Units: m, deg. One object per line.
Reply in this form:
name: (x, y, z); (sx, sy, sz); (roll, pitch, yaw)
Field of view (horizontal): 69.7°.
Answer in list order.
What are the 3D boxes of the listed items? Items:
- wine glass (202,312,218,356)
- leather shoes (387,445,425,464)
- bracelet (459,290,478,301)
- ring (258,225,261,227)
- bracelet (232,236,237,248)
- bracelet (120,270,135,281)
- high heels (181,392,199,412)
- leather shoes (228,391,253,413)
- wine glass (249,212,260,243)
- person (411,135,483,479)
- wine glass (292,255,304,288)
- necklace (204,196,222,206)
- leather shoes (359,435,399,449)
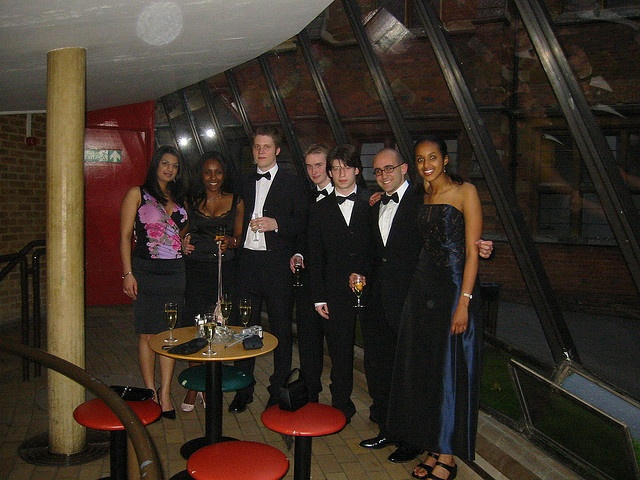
wine glass: (-0.700, 0.566, 2.886); (0.099, 0.163, 0.277); (-8, 5, -14)
leather shoes: (0.630, 1.543, 3.351); (0.260, 0.100, 0.092); (3, -5, -27)
bracelet: (0.927, 0.345, 2.859); (0.079, 0.050, 0.079); (16, -4, -32)
ring: (-0.489, -0.121, 3.684); (0.016, 0.015, 0.004); (5, 9, -26)
bracelet: (-0.712, 0.000, 3.852); (0.024, 0.062, 0.048); (1, 1, -35)
bracelet: (-1.570, 0.279, 3.751); (0.073, 0.047, 0.042); (-8, 5, -13)
high heels: (-1.174, 1.438, 4.103); (0.073, 0.096, 0.232); (4, 29, 3)
leather shoes: (-0.706, 1.437, 4.095); (0.103, 0.166, 0.246); (3, -3, 22)
wine glass: (-0.552, -0.114, 3.885); (0.101, 0.249, 0.140); (-8, 5, -8)
person: (0.841, 0.453, 3.001); (0.590, 2.229, 0.398); (-5, 6, 19)
wine glass: (-0.186, 0.254, 3.872); (0.120, 0.283, 0.085); (-7, 5, -5)
necklace: (-0.913, -0.334, 3.918); (0.096, 0.081, 0.021); (1, -2, 3)
leather shoes: (0.440, 1.527, 3.534); (0.321, 0.110, 0.107); (3, 0, -5)
